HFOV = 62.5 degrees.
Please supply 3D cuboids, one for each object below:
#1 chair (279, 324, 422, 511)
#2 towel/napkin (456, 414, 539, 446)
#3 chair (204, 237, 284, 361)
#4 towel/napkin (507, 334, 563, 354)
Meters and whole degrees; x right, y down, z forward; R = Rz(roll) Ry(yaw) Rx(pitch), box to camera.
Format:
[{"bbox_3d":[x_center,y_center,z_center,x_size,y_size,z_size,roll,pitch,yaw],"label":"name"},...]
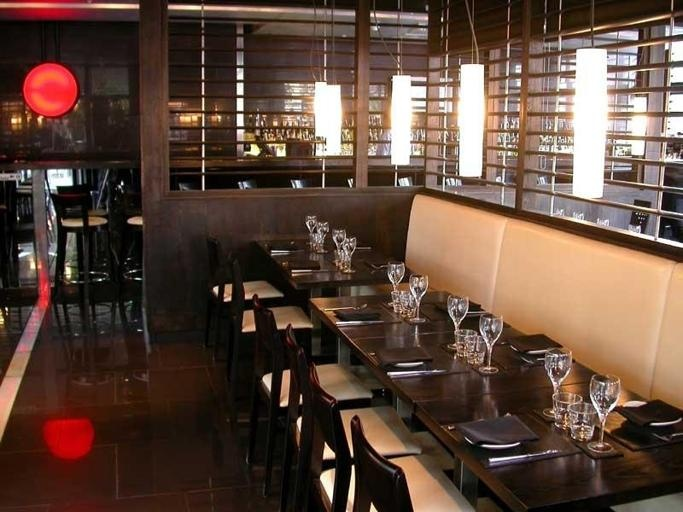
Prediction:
[{"bbox_3d":[0.040,0.749,2.579,0.573,1.085,0.578,-5,22,-12],"label":"chair"},{"bbox_3d":[0.569,0.656,2.107,0.264,0.037,0.195,-3,14,-17],"label":"towel/napkin"},{"bbox_3d":[-0.850,0.418,4.951,0.690,1.123,0.676,-4,10,-33],"label":"chair"},{"bbox_3d":[0.964,0.445,2.821,0.129,0.034,0.133,-2,5,-22],"label":"towel/napkin"}]
